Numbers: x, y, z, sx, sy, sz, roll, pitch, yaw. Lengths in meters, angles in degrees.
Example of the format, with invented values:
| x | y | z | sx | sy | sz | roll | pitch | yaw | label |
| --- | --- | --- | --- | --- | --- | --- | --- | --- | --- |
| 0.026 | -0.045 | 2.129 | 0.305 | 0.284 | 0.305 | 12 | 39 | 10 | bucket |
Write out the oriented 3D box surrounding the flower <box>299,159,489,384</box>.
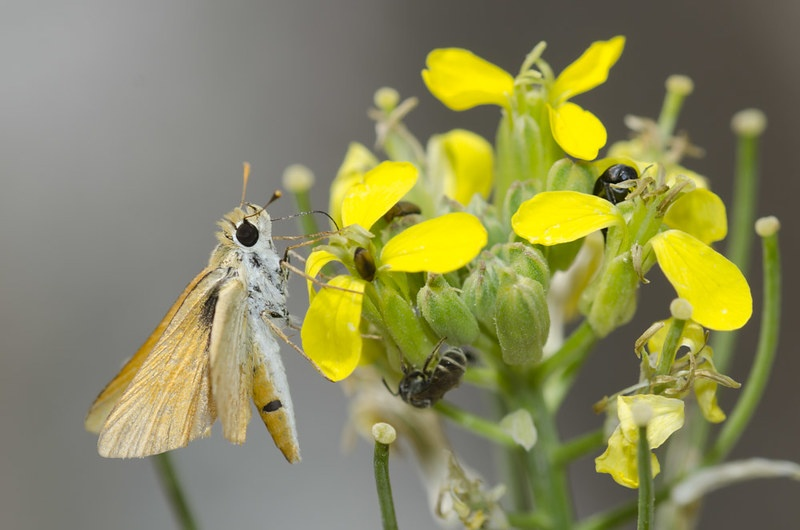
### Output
| x | y | z | sx | sy | sz | roll | pitch | yaw | label |
| --- | --- | --- | --- | --- | --- | --- | --- | --- | --- |
| -0.013 | -0.007 | 1.975 | 0.456 | 0.471 | 0.161 | -15 | -12 | 11 | flower |

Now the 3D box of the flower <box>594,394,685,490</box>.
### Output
| x | y | z | sx | sy | sz | roll | pitch | yaw | label |
| --- | --- | --- | --- | --- | --- | --- | --- | --- | --- |
| 0.532 | 0.379 | 1.866 | 0.150 | 0.071 | 0.233 | 4 | 38 | 37 | flower |
